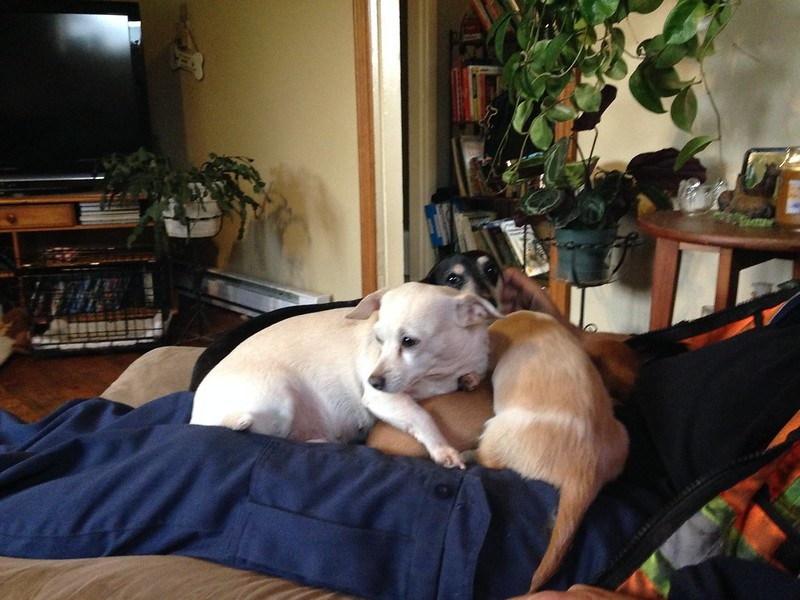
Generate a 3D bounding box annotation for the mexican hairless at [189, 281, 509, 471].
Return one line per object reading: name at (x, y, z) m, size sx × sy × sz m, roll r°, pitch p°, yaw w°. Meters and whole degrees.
mexican hairless at (-0.135, 0.189, 1.562) m, size 0.730 × 0.380 × 0.455 m, roll -11°, pitch 21°, yaw 7°

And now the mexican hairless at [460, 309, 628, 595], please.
mexican hairless at (0.262, 0.259, 1.348) m, size 0.216 × 0.257 × 0.582 m, roll -4°, pitch 35°, yaw -14°

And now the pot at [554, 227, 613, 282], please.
pot at (0.641, -0.161, 2.247) m, size 0.186 × 0.160 × 0.173 m, roll 0°, pitch 5°, yaw 0°

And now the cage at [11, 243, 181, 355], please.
cage at (-1.832, 0.040, 3.925) m, size 0.848 × 0.644 × 0.529 m, roll -3°, pitch 25°, yaw -8°

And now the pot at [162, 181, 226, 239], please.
pot at (-1.217, -0.538, 3.786) m, size 0.310 × 0.324 × 0.319 m, roll 0°, pitch 12°, yaw 0°
